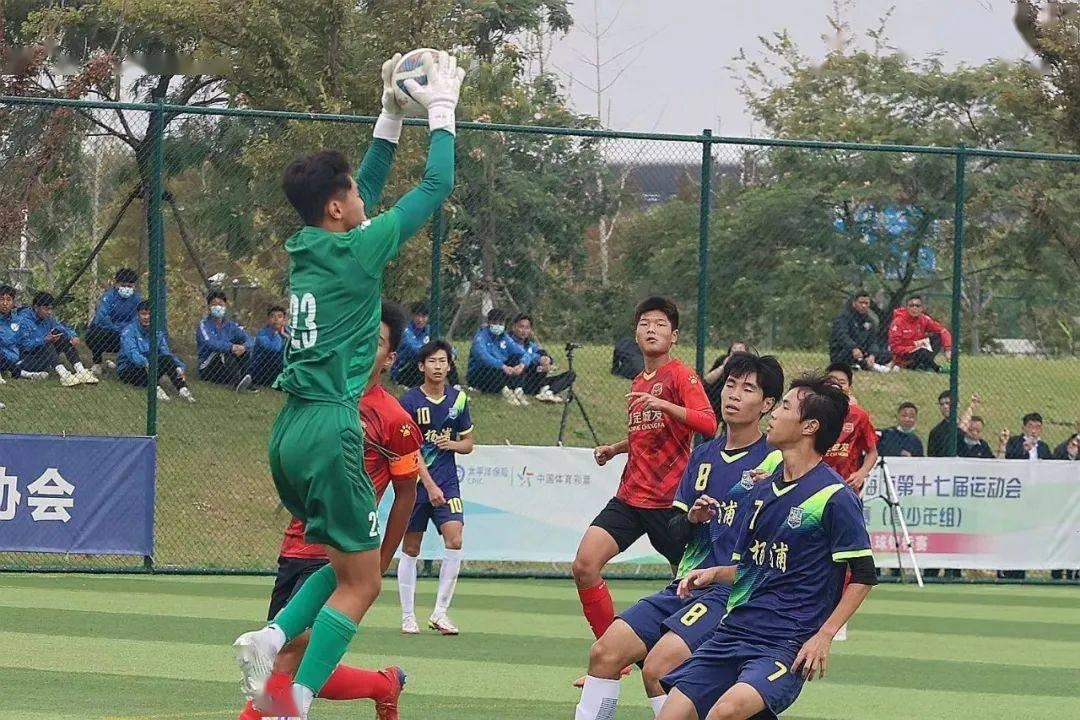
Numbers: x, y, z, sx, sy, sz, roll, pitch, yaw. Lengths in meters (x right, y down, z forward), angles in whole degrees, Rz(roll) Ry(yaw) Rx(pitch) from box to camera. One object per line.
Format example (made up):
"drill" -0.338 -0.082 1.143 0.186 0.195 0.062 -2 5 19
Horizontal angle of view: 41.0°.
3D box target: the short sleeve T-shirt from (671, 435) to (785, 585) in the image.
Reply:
"short sleeve T-shirt" 1.669 1.325 12.602 0.902 1.249 0.486 27 10 33

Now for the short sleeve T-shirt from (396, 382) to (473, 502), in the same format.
"short sleeve T-shirt" -1.129 0.909 15.764 0.865 1.234 0.629 -2 13 -5

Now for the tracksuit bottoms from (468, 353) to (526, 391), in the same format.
"tracksuit bottoms" -0.593 0.152 18.124 0.542 0.301 0.418 -4 -9 0

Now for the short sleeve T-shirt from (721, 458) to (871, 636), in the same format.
"short sleeve T-shirt" 2.057 1.627 12.276 0.855 1.512 1.479 7 -7 -39

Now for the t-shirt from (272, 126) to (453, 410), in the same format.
"t-shirt" -1.535 -0.901 12.119 1.203 3.176 1.083 -3 36 -19

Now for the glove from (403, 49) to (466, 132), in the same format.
"glove" -0.868 -2.250 12.106 0.500 0.853 0.289 4 -16 -19

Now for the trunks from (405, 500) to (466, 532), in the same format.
"trunks" -1.172 1.603 15.560 0.595 0.569 0.334 1 -1 -5

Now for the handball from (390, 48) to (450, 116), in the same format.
"handball" -1.077 -2.361 12.243 0.448 0.544 0.498 2 -8 -19

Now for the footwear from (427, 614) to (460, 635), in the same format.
"footwear" -1.062 2.816 15.433 0.377 0.190 0.152 5 6 41

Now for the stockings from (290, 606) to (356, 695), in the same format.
"stockings" -1.776 2.371 11.823 0.483 0.733 0.128 2 1 -9

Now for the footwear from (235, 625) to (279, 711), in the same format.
"footwear" -2.297 2.504 11.661 0.253 0.707 0.317 2 -13 -9

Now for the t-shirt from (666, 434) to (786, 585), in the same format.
"t-shirt" 1.659 1.325 12.632 0.937 1.368 0.532 26 8 35

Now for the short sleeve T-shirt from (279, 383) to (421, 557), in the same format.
"short sleeve T-shirt" -1.657 0.930 12.346 0.781 1.772 1.466 8 5 -20

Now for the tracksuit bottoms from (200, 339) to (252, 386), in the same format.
"tracksuit bottoms" -3.936 -0.070 17.964 0.796 0.524 0.377 0 -2 12

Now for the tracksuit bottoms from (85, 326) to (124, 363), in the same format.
"tracksuit bottoms" -5.434 -0.192 17.847 0.446 0.468 0.196 10 28 8

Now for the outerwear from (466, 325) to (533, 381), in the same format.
"outerwear" -0.548 -0.105 17.995 0.836 0.669 0.635 14 16 35

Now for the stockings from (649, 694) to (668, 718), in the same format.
"stockings" 1.005 2.959 12.447 0.186 0.203 0.200 -3 -6 -9

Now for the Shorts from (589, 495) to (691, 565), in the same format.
"Shorts" 1.010 1.451 13.733 0.920 0.810 0.376 12 20 28
